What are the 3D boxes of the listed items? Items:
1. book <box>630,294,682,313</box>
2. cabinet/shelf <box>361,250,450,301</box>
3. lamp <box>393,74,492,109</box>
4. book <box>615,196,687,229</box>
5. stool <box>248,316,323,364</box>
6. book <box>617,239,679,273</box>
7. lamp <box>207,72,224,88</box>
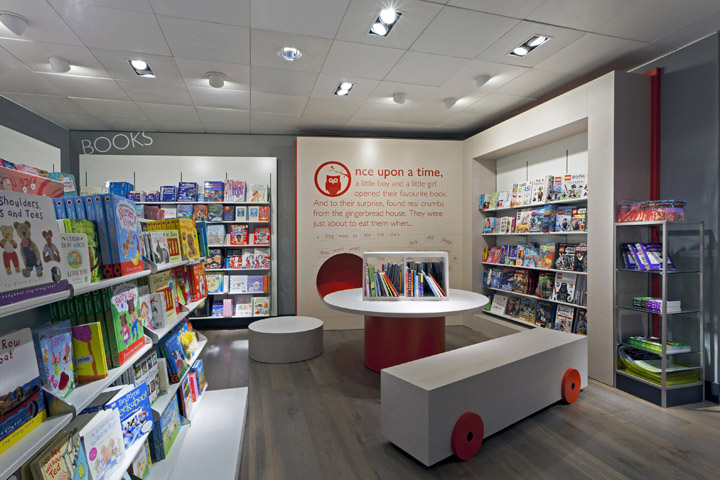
[{"bbox_3d":[3.057,0.641,4.485,0.429,0.172,0.354,7,15,35],"label":"book"},{"bbox_3d":[0.642,0.438,5.006,0.962,0.572,0.503,-4,-9,37],"label":"cabinet/shelf"},{"bbox_3d":[1.056,-1.946,5.726,1.281,0.296,0.728,2,13,16],"label":"lamp"},{"bbox_3d":[2.973,-0.273,4.450,0.588,0.264,0.337,6,14,30],"label":"book"},{"bbox_3d":[-0.892,1.355,5.880,0.902,0.341,0.932,-2,-3,-3],"label":"stool"},{"bbox_3d":[2.937,0.172,4.524,0.169,0.285,0.419,-8,13,-30],"label":"book"},{"bbox_3d":[-1.707,-1.903,5.144,0.123,0.071,0.137,1,6,30],"label":"lamp"}]
